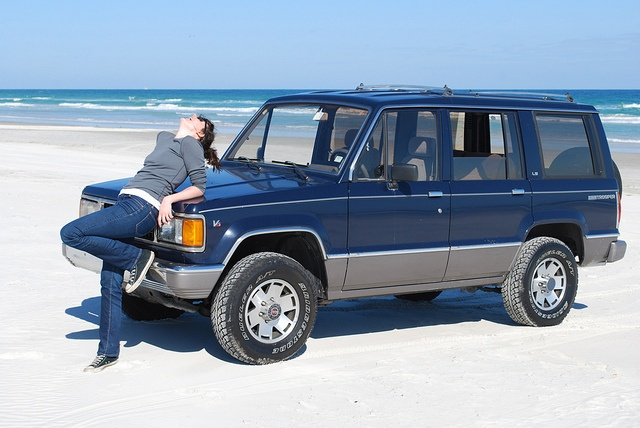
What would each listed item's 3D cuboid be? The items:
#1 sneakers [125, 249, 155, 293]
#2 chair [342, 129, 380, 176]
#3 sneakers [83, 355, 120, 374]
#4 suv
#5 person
[{"bbox_3d":[-1.692,0.534,4.839,0.212,0.476,0.180,29,14,-23],"label":"sneakers"},{"bbox_3d":[0.515,-0.624,5.406,0.378,0.409,0.447,8,-1,-9],"label":"chair"},{"bbox_3d":[-2.118,1.451,4.883,0.342,0.116,0.112,1,-2,-43],"label":"sneakers"},{"bbox_3d":[0.554,-0.124,6.448,6.626,2.307,2.946,1,0,-30],"label":"suv"},{"bbox_3d":[-1.794,0.239,5.011,1.295,2.544,0.751,3,5,-12],"label":"person"}]
